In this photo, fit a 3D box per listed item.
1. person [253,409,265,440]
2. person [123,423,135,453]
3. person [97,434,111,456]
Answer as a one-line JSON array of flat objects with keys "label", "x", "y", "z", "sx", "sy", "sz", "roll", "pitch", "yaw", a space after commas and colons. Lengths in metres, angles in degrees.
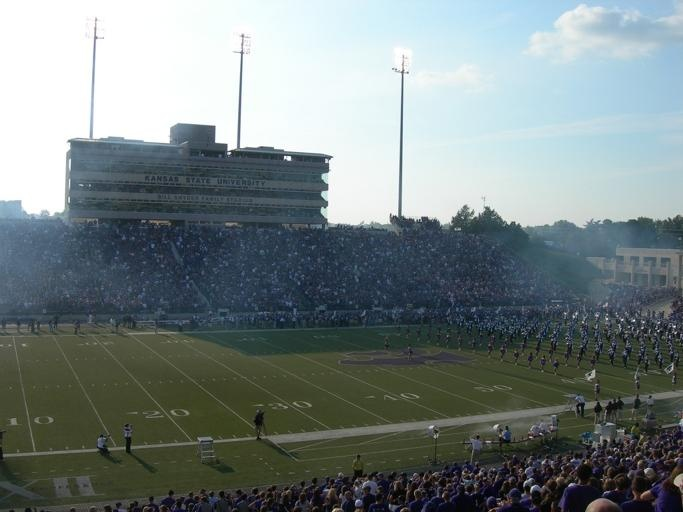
[{"label": "person", "x": -3.833, "y": 7.859, "z": 42.357, "sx": 0.435, "sy": 1.304, "sz": 1.173, "roll": 0, "pitch": 7, "yaw": -4}, {"label": "person", "x": -9.604, "y": 8.156, "z": 40.875, "sx": 0.333, "sy": 1.208, "sz": 1.628, "roll": -1, "pitch": 7, "yaw": -14}, {"label": "person", "x": -10.632, "y": 8.472, "z": 40.475, "sx": 0.522, "sy": 0.725, "sz": 1.231, "roll": -1, "pitch": 7, "yaw": -15}]
